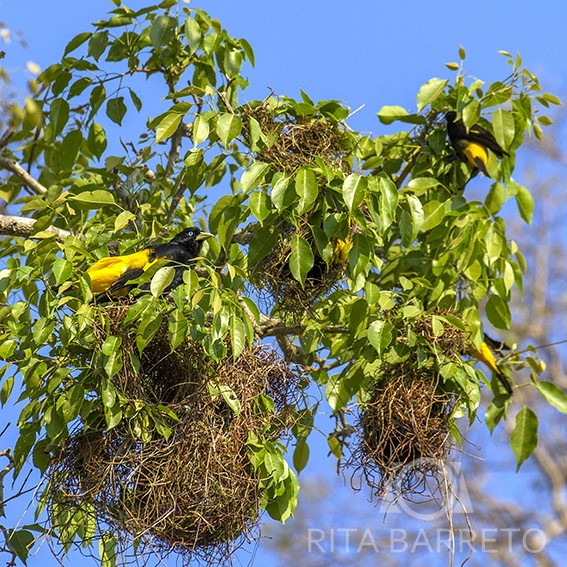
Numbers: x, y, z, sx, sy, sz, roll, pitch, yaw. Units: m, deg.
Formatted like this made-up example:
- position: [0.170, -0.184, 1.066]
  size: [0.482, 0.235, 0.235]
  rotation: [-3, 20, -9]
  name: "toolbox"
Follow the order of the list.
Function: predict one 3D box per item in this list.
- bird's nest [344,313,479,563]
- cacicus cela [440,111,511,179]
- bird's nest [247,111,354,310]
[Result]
- position: [0.652, 0.621, 5.074]
  size: [0.591, 0.778, 0.517]
  rotation: [25, -11, 5]
  name: "bird's nest"
- position: [0.924, -0.695, 5.469]
  size: [0.395, 0.233, 0.154]
  rotation: [22, -12, 26]
  name: "cacicus cela"
- position: [0.110, -0.311, 5.228]
  size: [0.665, 0.816, 0.325]
  rotation: [-8, 13, -36]
  name: "bird's nest"
